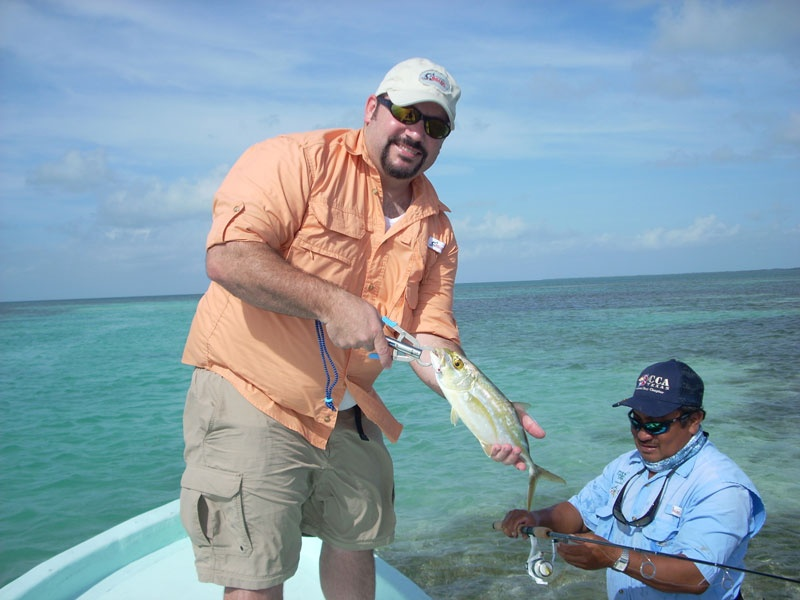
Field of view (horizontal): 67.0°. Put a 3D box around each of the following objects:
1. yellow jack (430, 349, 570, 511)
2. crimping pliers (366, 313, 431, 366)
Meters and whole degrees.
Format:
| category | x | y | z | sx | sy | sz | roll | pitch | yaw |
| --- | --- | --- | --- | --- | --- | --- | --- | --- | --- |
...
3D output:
| category | x | y | z | sx | sy | sz | roll | pitch | yaw |
| --- | --- | --- | --- | --- | --- | --- | --- | --- | --- |
| yellow jack | 0.532 | 0.696 | 4.122 | 0.936 | 1.116 | 0.689 | 2 | 8 | -16 |
| crimping pliers | 0.005 | 0.280 | 3.709 | 0.430 | 0.244 | 0.126 | 22 | -26 | -28 |
